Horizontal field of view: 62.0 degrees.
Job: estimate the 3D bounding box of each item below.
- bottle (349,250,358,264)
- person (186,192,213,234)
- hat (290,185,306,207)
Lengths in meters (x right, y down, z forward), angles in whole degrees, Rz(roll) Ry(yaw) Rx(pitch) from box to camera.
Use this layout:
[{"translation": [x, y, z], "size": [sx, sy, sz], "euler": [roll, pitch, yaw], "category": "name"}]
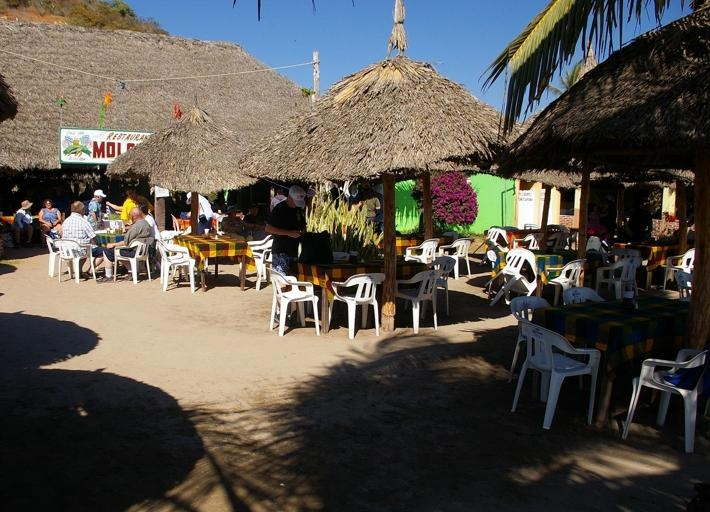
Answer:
[{"translation": [-0.020, 0.014, 8.958], "size": [0.142, 0.230, 0.146], "euler": [1, -4, 0], "category": "bottle"}, {"translation": [-4.245, -1.191, 16.351], "size": [0.470, 0.487, 1.517], "euler": [-7, -37, -15], "category": "person"}, {"translation": [-0.853, -0.881, 8.746], "size": [0.248, 0.328, 0.223], "euler": [-1, 10, -8], "category": "hat"}]
